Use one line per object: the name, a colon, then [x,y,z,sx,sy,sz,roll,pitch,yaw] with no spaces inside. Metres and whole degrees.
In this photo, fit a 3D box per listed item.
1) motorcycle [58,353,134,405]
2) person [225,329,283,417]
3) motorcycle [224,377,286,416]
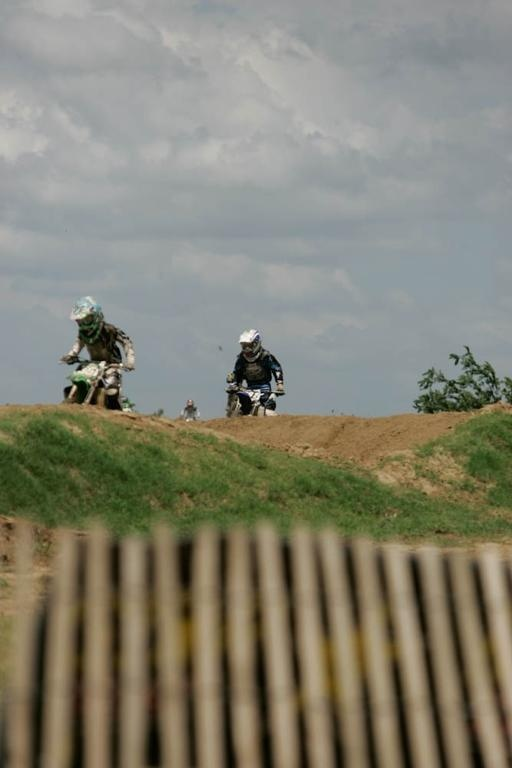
motorcycle: [-2.899,-0.021,22.316,1.293,1.029,1.795,8,2,12]
person: [-0.016,-0.223,28.995,1.196,2.019,1.186,5,1,-11]
motorcycle: [-0.149,0.324,29.177,0.855,0.676,1.175,-3,-8,23]
